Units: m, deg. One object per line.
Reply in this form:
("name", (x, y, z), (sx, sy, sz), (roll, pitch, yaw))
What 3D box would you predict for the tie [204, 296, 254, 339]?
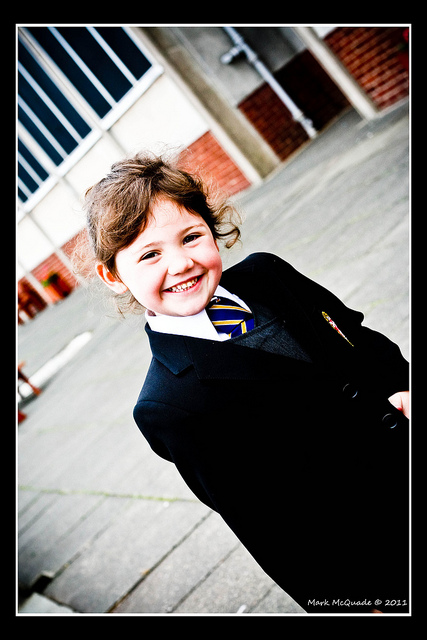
("tie", (0.054, -0.020, 1.890), (0.132, 0.122, 0.117), (-32, 29, 4))
